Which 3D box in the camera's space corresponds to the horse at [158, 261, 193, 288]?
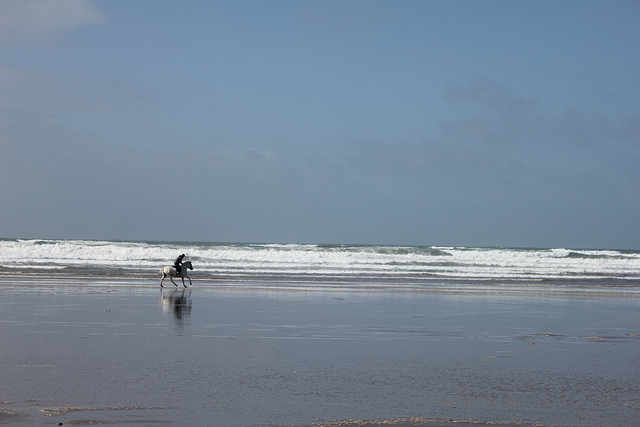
[{"bbox_3d":[-6.810,2.790,59.070,1.827,1.274,0.443,4,-8,-33],"label":"horse"}]
